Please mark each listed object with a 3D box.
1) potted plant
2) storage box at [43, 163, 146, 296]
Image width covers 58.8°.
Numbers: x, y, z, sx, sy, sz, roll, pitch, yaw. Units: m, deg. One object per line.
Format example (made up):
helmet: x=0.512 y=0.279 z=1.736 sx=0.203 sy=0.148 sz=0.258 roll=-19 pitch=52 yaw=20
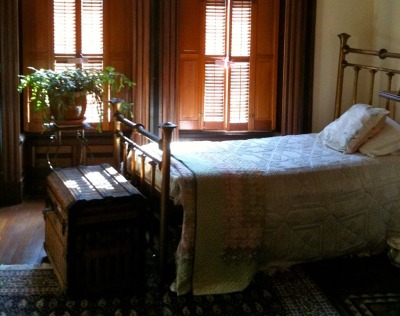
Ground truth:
potted plant: x=-1.076 y=-0.567 z=3.080 sx=0.788 sy=0.435 sz=0.794 roll=-2 pitch=10 yaw=-13
storage box: x=-0.642 y=0.433 z=2.246 sx=0.596 sy=0.596 sz=0.823 roll=0 pitch=9 yaw=-20
